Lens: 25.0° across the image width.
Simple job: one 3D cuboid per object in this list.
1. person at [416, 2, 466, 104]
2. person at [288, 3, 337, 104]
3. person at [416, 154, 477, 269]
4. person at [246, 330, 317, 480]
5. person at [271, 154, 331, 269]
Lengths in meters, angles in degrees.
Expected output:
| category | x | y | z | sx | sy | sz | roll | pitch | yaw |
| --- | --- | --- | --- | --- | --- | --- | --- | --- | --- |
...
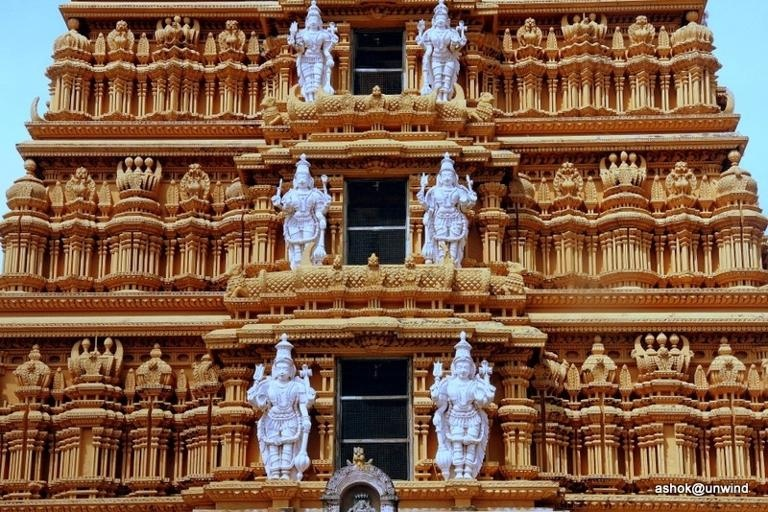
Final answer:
| category | x | y | z | sx | sy | sz | roll | pitch | yaw |
| --- | --- | --- | --- | --- | --- | --- | --- | --- | --- |
| person | 1.426 | -5.052 | 43.021 | 1.053 | 3.000 | 1.063 | 10 | -31 | -18 |
| person | -1.708 | -5.039 | 43.028 | 1.174 | 2.910 | 0.959 | 0 | -29 | -1 |
| person | 1.528 | -0.967 | 40.794 | 1.256 | 2.835 | 0.719 | 0 | 6 | 5 |
| person | -2.254 | 3.440 | 39.051 | 1.533 | 3.199 | 0.562 | 1 | -1 | -3 |
| person | -1.893 | -0.885 | 40.888 | 1.282 | 2.763 | 0.687 | 0 | 0 | -2 |
